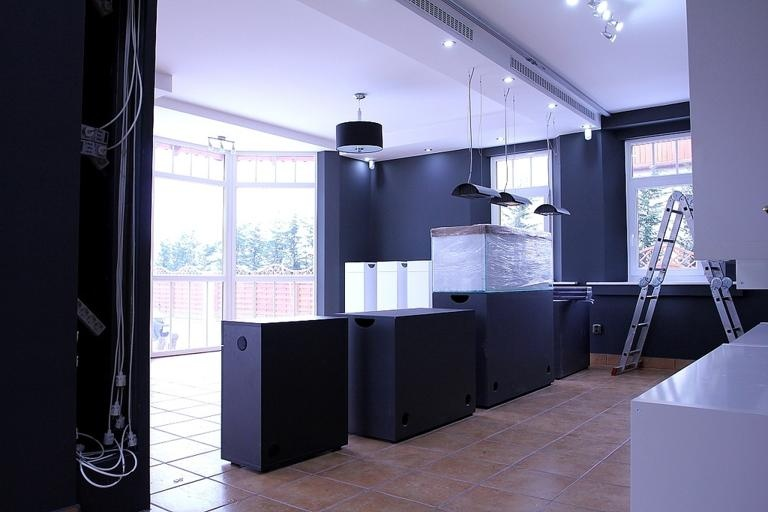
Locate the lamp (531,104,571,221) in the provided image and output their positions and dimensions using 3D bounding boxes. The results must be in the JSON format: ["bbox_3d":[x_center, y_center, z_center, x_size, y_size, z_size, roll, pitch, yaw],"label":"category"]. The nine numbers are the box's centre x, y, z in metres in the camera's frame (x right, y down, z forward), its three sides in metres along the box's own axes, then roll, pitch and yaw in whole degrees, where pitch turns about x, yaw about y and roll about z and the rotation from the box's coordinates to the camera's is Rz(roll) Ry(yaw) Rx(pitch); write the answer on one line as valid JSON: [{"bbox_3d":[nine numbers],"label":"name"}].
[{"bbox_3d":[2.291,-1.162,7.403,0.372,1.173,1.806,-1,0,18],"label":"lamp"}]

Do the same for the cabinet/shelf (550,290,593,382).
[{"bbox_3d":[2.134,0.910,6.239,0.565,0.994,1.048,-2,-2,29],"label":"cabinet/shelf"}]

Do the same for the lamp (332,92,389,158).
[{"bbox_3d":[-0.280,-1.620,6.605,0.693,0.745,0.679,-1,-3,1],"label":"lamp"}]

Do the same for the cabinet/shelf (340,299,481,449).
[{"bbox_3d":[0.262,0.880,4.216,1.051,0.614,0.403,0,0,-33],"label":"cabinet/shelf"}]
